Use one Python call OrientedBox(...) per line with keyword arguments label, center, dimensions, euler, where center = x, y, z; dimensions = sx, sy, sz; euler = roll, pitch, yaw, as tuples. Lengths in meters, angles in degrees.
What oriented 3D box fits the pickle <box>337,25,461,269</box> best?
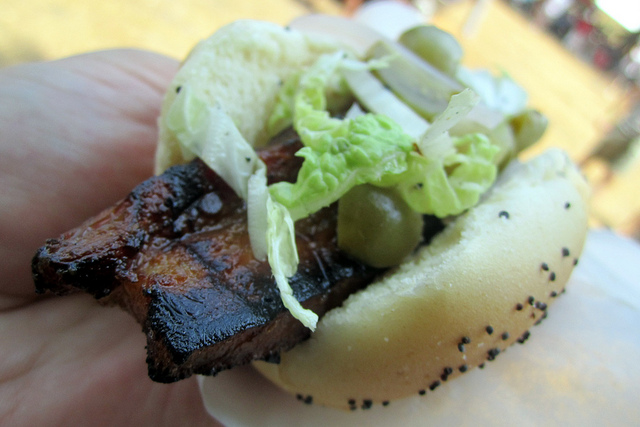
OrientedBox(label="pickle", center=(0.149, -0.133, 1.562), dimensions=(0.332, 0.522, 0.563), euler=(1, 34, -1))
